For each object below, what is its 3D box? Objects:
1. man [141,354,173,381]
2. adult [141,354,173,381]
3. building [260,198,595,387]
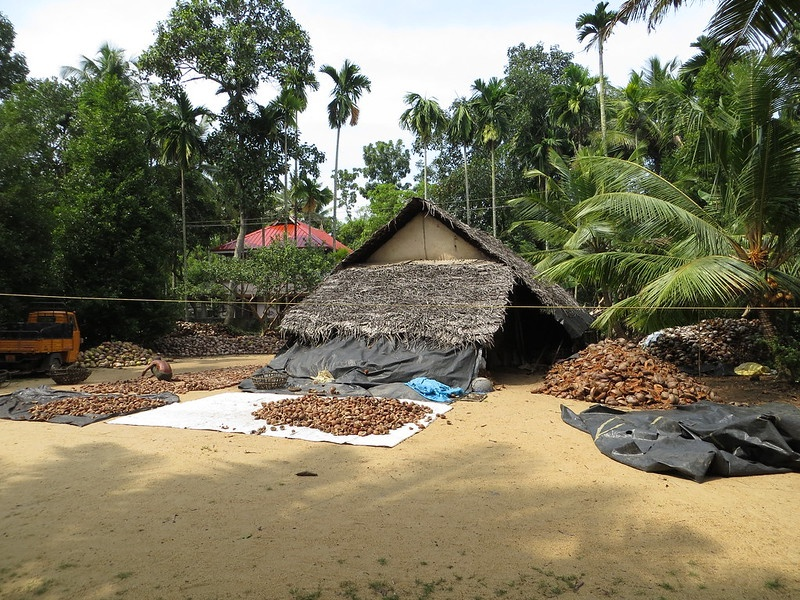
[{"bbox_3d":[-7.116,2.000,16.086,0.701,0.380,0.434,16,23,33],"label":"man"},{"bbox_3d":[-7.116,2.000,16.086,0.701,0.380,0.434,16,23,33],"label":"adult"},{"bbox_3d":[0.889,-0.479,16.321,5.387,2.810,8.110,-1,3,16],"label":"building"}]
